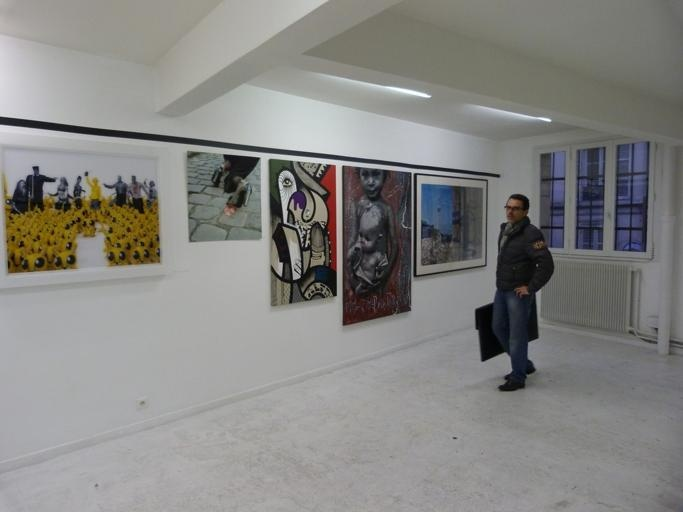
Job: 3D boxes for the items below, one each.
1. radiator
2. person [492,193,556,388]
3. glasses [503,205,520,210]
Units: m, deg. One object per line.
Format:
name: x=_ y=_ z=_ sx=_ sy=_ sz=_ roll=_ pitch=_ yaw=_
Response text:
radiator: x=3.544 y=0.545 z=6.185 sx=1.130 sy=0.948 sz=0.117 roll=1 pitch=-5 yaw=-5
person: x=1.872 y=0.387 z=4.514 sx=0.567 sy=2.008 sz=0.454 roll=5 pitch=9 yaw=33
glasses: x=1.763 y=-0.493 z=4.525 sx=0.083 sy=0.054 sz=0.169 roll=-3 pitch=10 yaw=-18
